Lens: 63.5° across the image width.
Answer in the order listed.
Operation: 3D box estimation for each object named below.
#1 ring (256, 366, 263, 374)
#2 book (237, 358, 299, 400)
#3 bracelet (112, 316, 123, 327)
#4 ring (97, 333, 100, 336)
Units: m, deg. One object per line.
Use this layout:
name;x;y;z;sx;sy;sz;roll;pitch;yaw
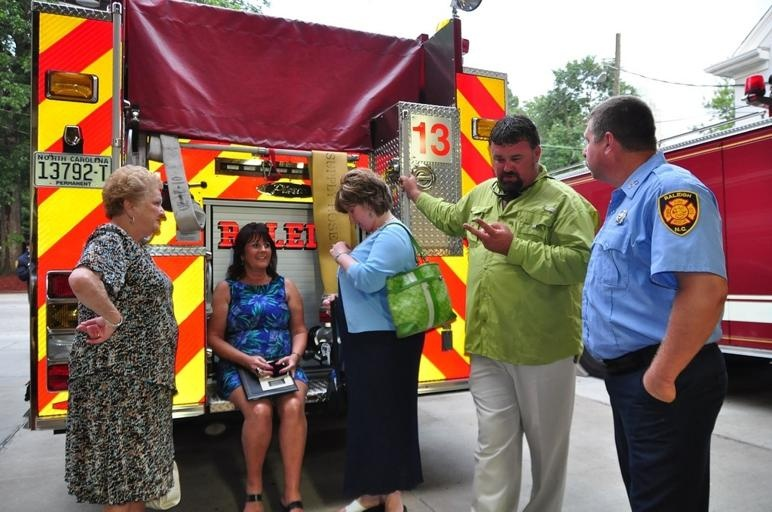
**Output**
ring;-0.935;0.851;4.656;0.040;0.045;0.071;4;-4;-25
book;-0.840;0.900;4.565;0.252;0.055;0.243;-5;40;-29
bracelet;-1.558;0.387;3.667;0.020;0.051;0.052;31;58;30
ring;-1.668;0.458;3.653;0.024;0.018;0.006;-2;-1;-21
